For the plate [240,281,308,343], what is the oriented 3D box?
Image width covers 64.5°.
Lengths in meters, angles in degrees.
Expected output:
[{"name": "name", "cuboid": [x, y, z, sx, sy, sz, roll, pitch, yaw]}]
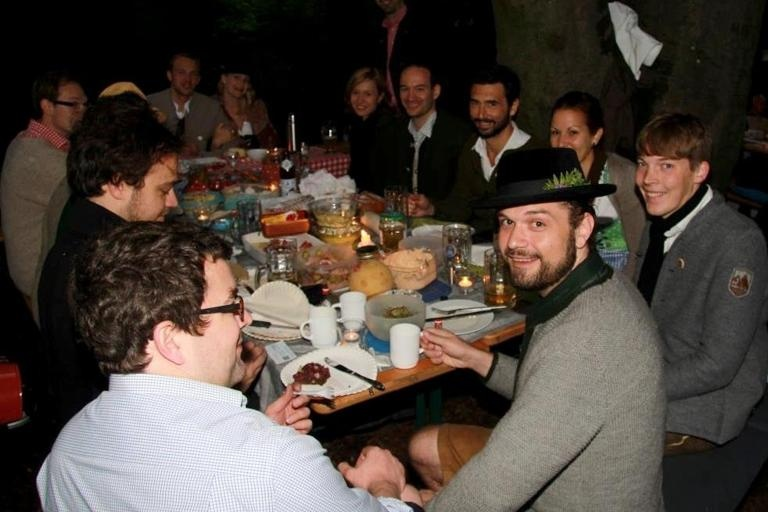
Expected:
[{"name": "plate", "cuboid": [-0.640, 0.318, 3.629, 0.388, 0.263, 0.383, -5, 17, -9]}]

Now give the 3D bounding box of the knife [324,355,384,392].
[{"name": "knife", "cuboid": [-0.165, 0.623, 3.192, 0.302, 0.025, 0.050, 26, 67, 19]}]

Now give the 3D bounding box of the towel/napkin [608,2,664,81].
[{"name": "towel/napkin", "cuboid": [1.908, -1.697, 4.693, 0.174, 0.579, 0.457, -43, 7, 27]}]

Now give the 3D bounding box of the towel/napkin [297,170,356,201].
[{"name": "towel/napkin", "cuboid": [-0.487, -0.636, 5.437, 0.381, 0.127, 0.346, -10, 22, -27]}]

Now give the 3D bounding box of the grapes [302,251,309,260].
[{"name": "grapes", "cuboid": [-0.544, -0.011, 4.249, 0.056, 0.042, 0.056, 3, -1, -42]}]

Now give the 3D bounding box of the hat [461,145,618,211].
[{"name": "hat", "cuboid": [0.827, -0.398, 3.054, 0.426, 0.157, 0.489, -7, 2, 44]}]

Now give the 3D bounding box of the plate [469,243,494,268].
[{"name": "plate", "cuboid": [0.691, -0.010, 4.335, 0.174, 0.166, 0.168, 1, 11, 7]}]

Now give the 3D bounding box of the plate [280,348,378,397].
[{"name": "plate", "cuboid": [-0.275, 0.611, 3.208, 0.347, 0.045, 0.267, -12, 36, -13]}]

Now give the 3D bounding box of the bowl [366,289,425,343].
[{"name": "bowl", "cuboid": [0.065, 0.312, 3.523, 0.342, 0.180, 0.294, 1, 21, 5]}]

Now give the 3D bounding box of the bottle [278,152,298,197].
[{"name": "bottle", "cuboid": [-0.883, -0.737, 5.561, 0.157, 0.303, 0.305, -6, 18, -10]}]

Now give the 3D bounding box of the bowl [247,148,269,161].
[{"name": "bowl", "cuboid": [-1.349, -1.092, 6.505, 0.208, 0.113, 0.257, -7, 17, -15]}]

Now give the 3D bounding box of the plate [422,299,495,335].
[{"name": "plate", "cuboid": [0.435, 0.361, 3.640, 0.419, 0.100, 0.350, -9, 17, -24]}]

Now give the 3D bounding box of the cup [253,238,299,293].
[{"name": "cup", "cuboid": [-0.771, 0.058, 4.029, 0.351, 0.323, 0.213, -13, 25, -27]}]

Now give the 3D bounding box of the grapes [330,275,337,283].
[{"name": "grapes", "cuboid": [-0.326, 0.146, 3.962, 0.054, 0.032, 0.034, -2, 17, 1]}]

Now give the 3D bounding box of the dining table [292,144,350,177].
[{"name": "dining table", "cuboid": [-0.600, -0.977, 6.195, 0.516, 0.190, 0.515, 14, 24, 37]}]
